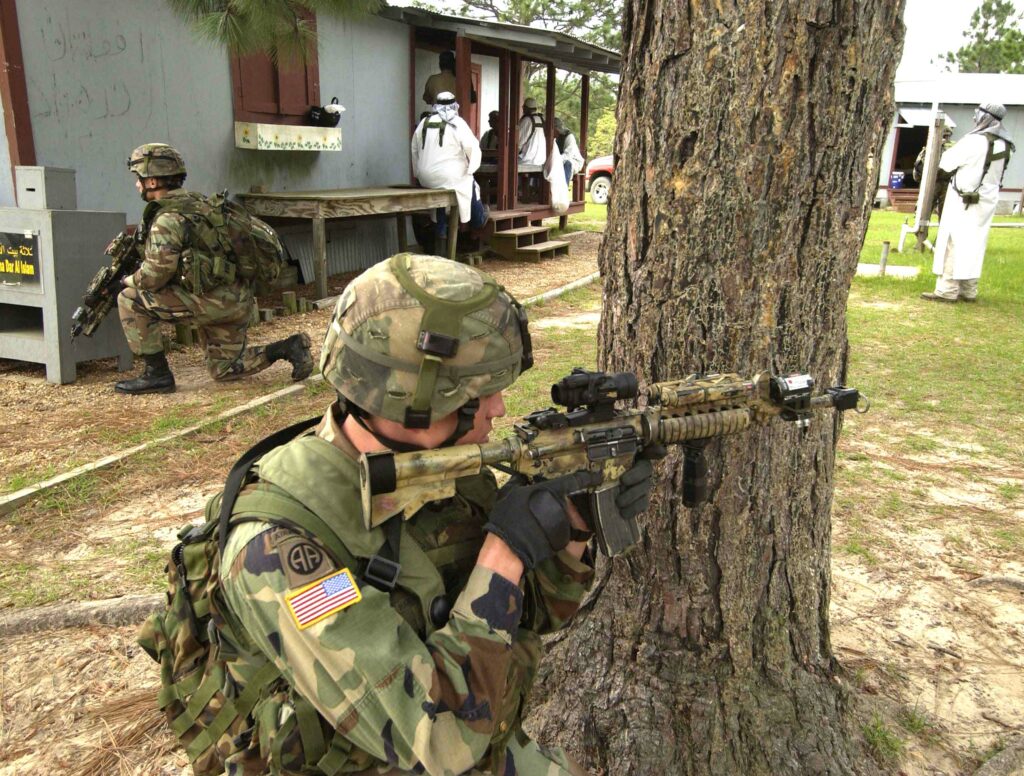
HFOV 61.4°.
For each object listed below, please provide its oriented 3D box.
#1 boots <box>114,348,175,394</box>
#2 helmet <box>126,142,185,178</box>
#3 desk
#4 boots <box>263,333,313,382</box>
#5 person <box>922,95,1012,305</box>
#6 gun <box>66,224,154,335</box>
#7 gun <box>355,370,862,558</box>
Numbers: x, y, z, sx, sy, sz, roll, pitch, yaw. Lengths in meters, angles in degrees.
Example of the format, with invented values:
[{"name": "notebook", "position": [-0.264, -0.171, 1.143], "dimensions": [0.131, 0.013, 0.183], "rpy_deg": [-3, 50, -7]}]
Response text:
[{"name": "boots", "position": [-3.436, -0.160, 8.254], "dimensions": [0.607, 0.479, 0.291], "rpy_deg": [4, 11, -9]}, {"name": "helmet", "position": [-3.261, -2.096, 7.961], "dimensions": [0.426, 0.267, 0.400], "rpy_deg": [-25, 38, -38]}, {"name": "desk", "position": [-2.076, -1.757, 9.893], "dimensions": [1.161, 1.089, 2.350], "rpy_deg": [19, 30, 34]}, {"name": "boots", "position": [-2.072, -0.314, 8.157], "dimensions": [0.444, 0.475, 0.229], "rpy_deg": [-1, 12, 27]}, {"name": "person", "position": [6.546, -2.658, 12.402], "dimensions": [0.712, 2.732, 1.082], "rpy_deg": [12, 22, 34]}, {"name": "gun", "position": [-3.763, -1.017, 8.051], "dimensions": [0.459, 1.121, 0.259], "rpy_deg": [32, -9, -15]}, {"name": "gun", "position": [0.359, 0.305, 3.404], "dimensions": [1.873, 0.768, 0.321], "rpy_deg": [-9, 24, -19]}]
